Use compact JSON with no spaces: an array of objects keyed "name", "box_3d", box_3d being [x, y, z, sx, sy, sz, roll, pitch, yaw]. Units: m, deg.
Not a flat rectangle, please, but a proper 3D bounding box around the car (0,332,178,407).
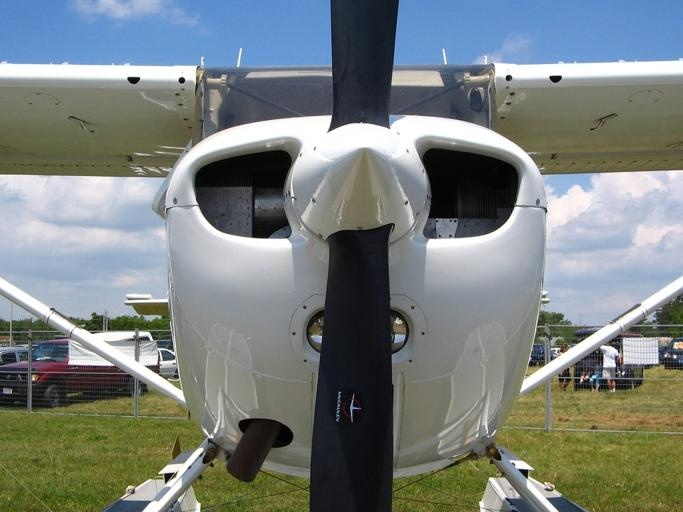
[{"name":"car","box_3d":[-4.134,1.925,13.564,2.688,1.444,1.684,1,-9,0]}]
